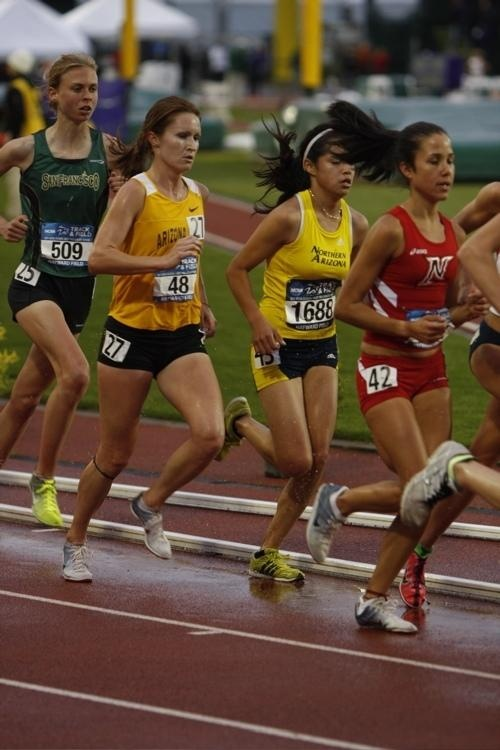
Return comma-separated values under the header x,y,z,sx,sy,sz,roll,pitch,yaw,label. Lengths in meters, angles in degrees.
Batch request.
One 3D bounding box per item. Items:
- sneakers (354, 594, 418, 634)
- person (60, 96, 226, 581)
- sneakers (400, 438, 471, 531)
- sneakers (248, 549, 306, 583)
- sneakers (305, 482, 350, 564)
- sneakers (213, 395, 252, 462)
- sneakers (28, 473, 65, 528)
x,y,z,sx,sy,sz,roll,pitch,yaw,label
0.460,0.828,2.659,0.283,0.114,0.094,5,8,12,sneakers
-0.416,-0.089,2.932,0.593,1.911,0.761,0,2,-14,person
0.569,0.316,2.307,0.122,0.309,0.120,3,43,-37,sneakers
0.104,0.812,3.268,0.281,0.115,0.107,4,2,29,sneakers
0.276,0.547,2.716,0.112,0.295,0.138,4,9,-44,sneakers
-0.080,0.258,3.631,0.112,0.288,0.185,31,20,12,sneakers
-0.992,0.594,3.715,0.123,0.139,0.323,-4,47,-38,sneakers
